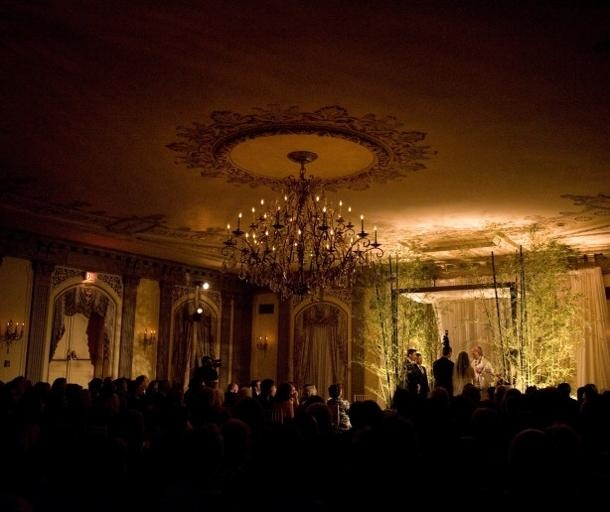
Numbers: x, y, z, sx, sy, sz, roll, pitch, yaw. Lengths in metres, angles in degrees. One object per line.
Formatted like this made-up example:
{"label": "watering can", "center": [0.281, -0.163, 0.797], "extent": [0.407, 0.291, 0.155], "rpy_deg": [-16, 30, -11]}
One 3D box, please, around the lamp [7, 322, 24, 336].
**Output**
{"label": "lamp", "center": [-5.371, 1.340, 9.942], "extent": [0.132, 0.233, 0.214], "rpy_deg": [-14, -17, 25]}

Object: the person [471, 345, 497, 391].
{"label": "person", "center": [3.816, 2.413, 11.523], "extent": [0.527, 1.133, 0.819], "rpy_deg": [0, -24, 7]}
